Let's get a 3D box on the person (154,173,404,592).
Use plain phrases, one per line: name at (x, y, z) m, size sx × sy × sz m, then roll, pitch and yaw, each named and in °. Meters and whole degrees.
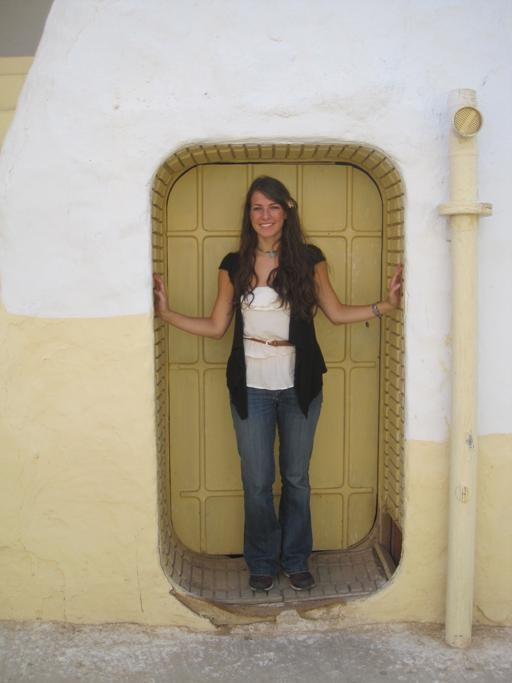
person at (0.078, 0.237, 3.466) m, size 0.885 × 1.700 × 0.454 m, roll 0°, pitch 0°, yaw -1°
